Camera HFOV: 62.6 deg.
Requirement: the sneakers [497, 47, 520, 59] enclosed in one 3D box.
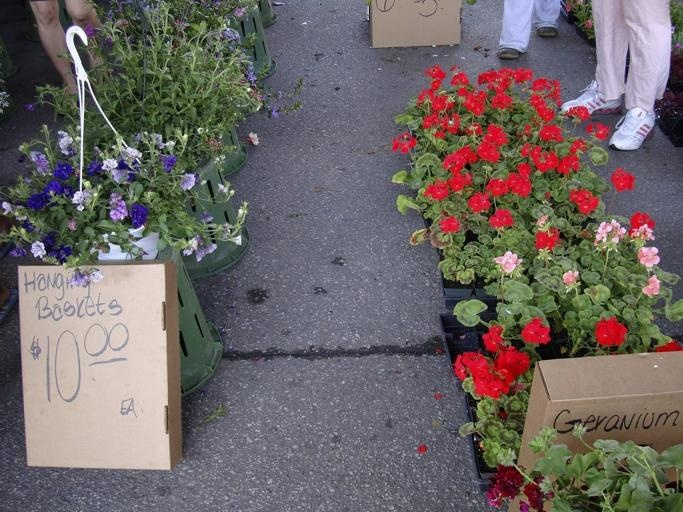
[{"bbox_3d":[1.319,-1.551,4.373,0.144,0.065,0.079,-1,88,9],"label":"sneakers"}]
